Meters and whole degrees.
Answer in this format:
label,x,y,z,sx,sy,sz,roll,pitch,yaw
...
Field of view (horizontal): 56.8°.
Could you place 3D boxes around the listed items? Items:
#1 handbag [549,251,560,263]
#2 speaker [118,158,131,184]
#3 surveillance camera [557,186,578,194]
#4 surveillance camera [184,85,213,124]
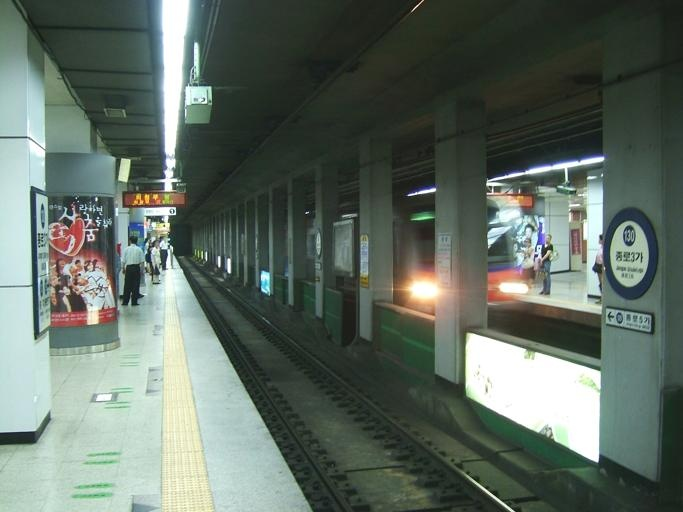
label,x,y,z,sx,sy,sz,roll,pitch,yaw
handbag,6.127,0.031,18.145,0.344,0.198,0.461,-16,2,-16
speaker,-4.937,-1.912,14.260,0.268,0.484,0.776,-2,2,-22
surveillance camera,5.677,-1.649,15.847,0.321,0.217,0.676,-2,2,3
surveillance camera,-1.840,-1.955,8.053,0.307,0.478,0.343,-2,2,-17
